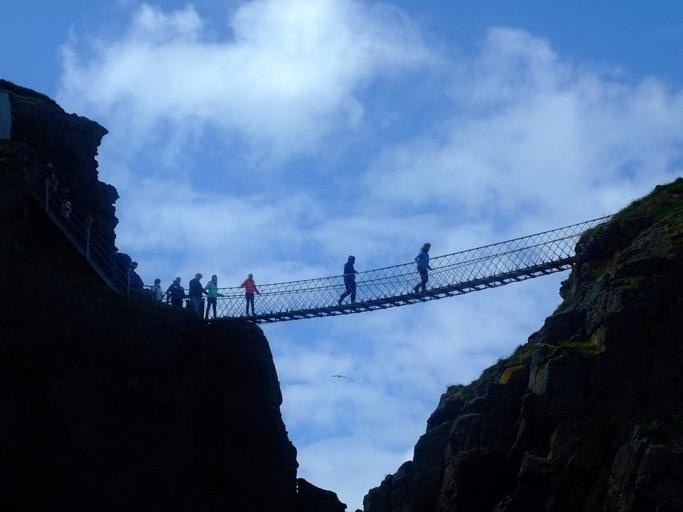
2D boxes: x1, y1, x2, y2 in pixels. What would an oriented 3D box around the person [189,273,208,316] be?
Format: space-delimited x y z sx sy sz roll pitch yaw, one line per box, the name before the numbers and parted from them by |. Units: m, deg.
person | -6.006 1.738 53.383 0.718 2.056 1.353 2 -21 -7
